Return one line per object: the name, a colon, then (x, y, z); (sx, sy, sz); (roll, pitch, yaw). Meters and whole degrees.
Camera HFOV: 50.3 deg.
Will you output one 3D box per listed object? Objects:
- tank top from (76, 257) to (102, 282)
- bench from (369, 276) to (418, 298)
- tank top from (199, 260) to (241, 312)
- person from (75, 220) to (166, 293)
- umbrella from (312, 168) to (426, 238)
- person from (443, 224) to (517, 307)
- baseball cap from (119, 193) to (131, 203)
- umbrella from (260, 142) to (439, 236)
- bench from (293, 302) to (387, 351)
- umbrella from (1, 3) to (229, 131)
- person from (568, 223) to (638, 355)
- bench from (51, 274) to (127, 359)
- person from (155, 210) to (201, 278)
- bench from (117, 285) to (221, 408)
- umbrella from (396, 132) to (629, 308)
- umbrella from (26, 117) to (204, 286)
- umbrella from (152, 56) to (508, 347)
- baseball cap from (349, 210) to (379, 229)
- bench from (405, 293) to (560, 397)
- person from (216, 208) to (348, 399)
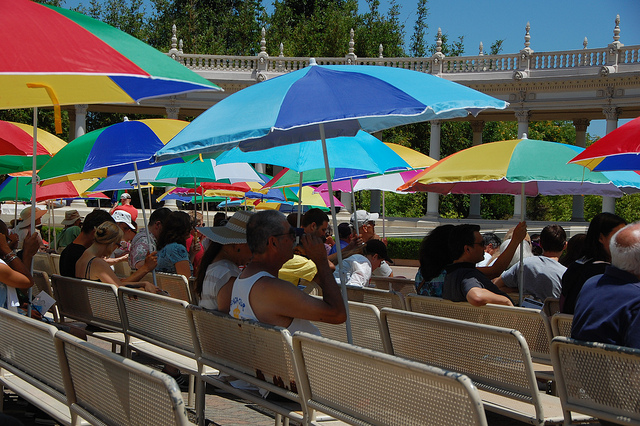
tank top: (-2.787, 0.690, 8.310); (0.246, 0.260, 0.072); (5, 10, 18)
bench: (1.065, 0.940, 9.956); (0.630, 0.357, 0.249); (8, 25, 32)
tank top: (-0.952, 0.704, 6.602); (0.223, 0.423, 0.417); (8, -1, -35)
person: (-2.637, 0.578, 9.161); (0.670, 0.954, 0.537); (-18, 34, -30)
umbrella: (0.598, -0.061, 11.691); (1.670, 1.460, 1.726); (-10, 0, -22)
person: (1.743, 0.584, 7.555); (0.677, 0.958, 1.259); (1, -1, 4)
baseball cap: (-5.388, -0.425, 18.795); (0.375, 0.204, 0.284); (7, -1, -1)
umbrella: (0.421, -0.657, 11.128); (1.896, 1.231, 1.948); (-6, 0, 17)
bench: (0.291, 1.080, 7.053); (0.812, 0.569, 0.368); (-17, -33, 8)
umbrella: (-2.085, -1.392, 6.167); (1.688, 0.926, 1.365); (-2, 9, -16)
person: (2.457, 0.602, 5.856); (0.505, 0.981, 0.508); (4, 10, 21)
bench: (-2.643, 1.329, 8.384); (1.397, 1.037, 0.601); (4, 5, 37)
person: (-2.032, 0.464, 9.711); (0.463, 1.237, 0.592); (23, 33, 34)
bench: (-1.550, 1.374, 7.376); (0.686, 1.100, 1.463); (-3, 5, -43)
umbrella: (2.796, 0.165, 9.403); (2.511, 2.364, 2.552); (1, 2, 43)
umbrella: (-2.577, -0.282, 10.176); (2.549, 2.443, 2.501); (-16, 12, -34)
umbrella: (-0.002, -0.335, 7.214); (2.496, 2.331, 2.487); (0, 4, -5)
baseball cap: (0.894, 0.130, 12.069); (0.515, 0.274, 0.332); (-17, 11, -14)
bench: (1.483, 1.217, 6.249); (0.976, 0.698, 0.415); (9, 18, 38)
person: (-0.360, 0.773, 6.323); (0.929, 1.541, 1.143); (1, 3, -24)
